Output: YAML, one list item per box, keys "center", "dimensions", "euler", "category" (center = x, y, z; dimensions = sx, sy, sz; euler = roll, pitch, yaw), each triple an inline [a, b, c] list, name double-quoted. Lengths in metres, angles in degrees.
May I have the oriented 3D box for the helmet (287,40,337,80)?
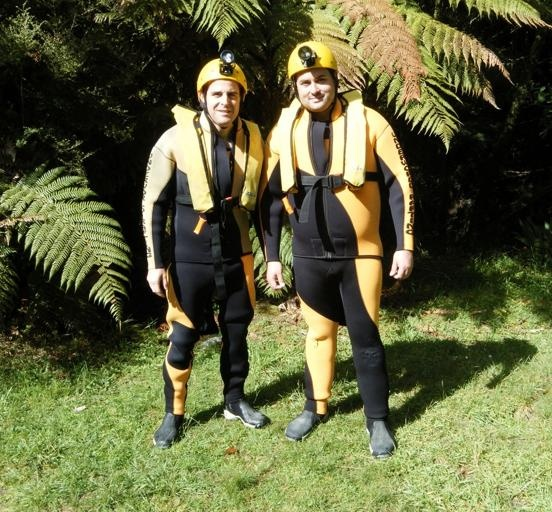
- center: [0.171, -0.977, 2.772]
  dimensions: [0.164, 0.208, 0.171]
  euler: [-12, 49, 11]
  category: "helmet"

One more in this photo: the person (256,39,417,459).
- center: [0.300, -0.042, 2.890]
  dimensions: [0.882, 2.059, 0.619]
  euler: [-11, 16, 13]
  category: "person"

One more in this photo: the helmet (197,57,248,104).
- center: [-0.280, -0.919, 2.914]
  dimensions: [0.202, 0.196, 0.249]
  euler: [1, 10, 1]
  category: "helmet"

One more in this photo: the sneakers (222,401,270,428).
- center: [-0.180, 0.908, 3.238]
  dimensions: [0.259, 0.110, 0.117]
  euler: [6, 16, 29]
  category: "sneakers"

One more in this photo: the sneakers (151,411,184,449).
- center: [-0.593, 0.958, 3.037]
  dimensions: [0.094, 0.091, 0.212]
  euler: [17, 4, 5]
  category: "sneakers"
